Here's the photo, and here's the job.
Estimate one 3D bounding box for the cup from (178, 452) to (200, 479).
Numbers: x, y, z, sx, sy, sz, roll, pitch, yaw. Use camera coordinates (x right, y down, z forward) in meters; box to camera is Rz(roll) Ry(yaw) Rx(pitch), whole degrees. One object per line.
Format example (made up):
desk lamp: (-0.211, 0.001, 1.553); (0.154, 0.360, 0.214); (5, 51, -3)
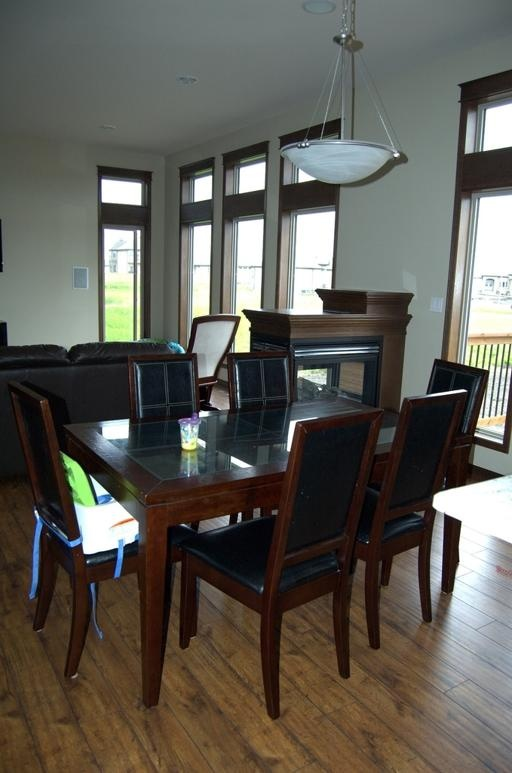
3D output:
cup: (-0.189, 0.223, 1.508); (0.046, 0.091, 0.048); (0, -6, 0)

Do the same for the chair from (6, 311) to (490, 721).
chair: (-0.460, 0.295, 2.547); (1.494, 0.927, 2.283); (-2, 7, -43)
